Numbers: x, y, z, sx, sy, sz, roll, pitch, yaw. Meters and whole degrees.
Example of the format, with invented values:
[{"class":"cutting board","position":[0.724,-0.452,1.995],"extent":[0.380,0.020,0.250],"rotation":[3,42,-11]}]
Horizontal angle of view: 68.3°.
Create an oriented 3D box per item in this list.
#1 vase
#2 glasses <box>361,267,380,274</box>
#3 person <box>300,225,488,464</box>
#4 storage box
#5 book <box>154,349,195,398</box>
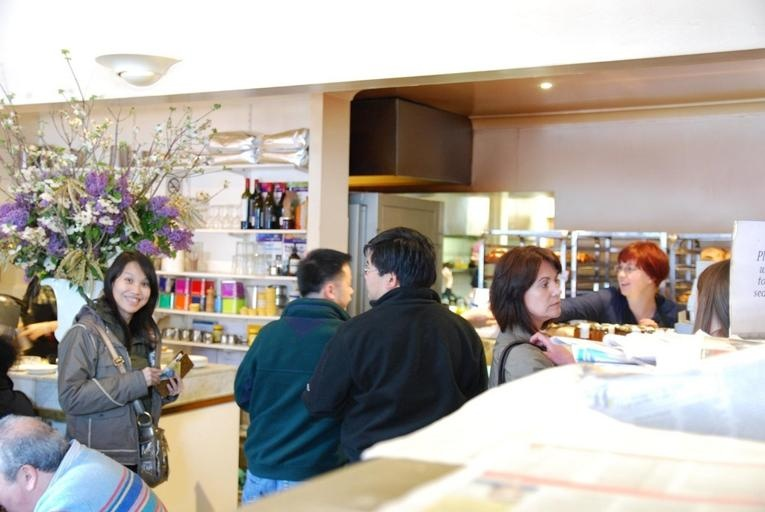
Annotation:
[{"class":"vase","position":[-1.813,0.307,3.359],"extent":[0.393,0.407,0.403],"rotation":[-1,5,-30]},{"class":"glasses","position":[-0.039,0.061,2.299],"extent":[0.088,0.024,0.081],"rotation":[7,-6,-23]},{"class":"person","position":[0.059,0.335,2.201],"extent":[0.758,0.882,0.319],"rotation":[-6,5,-9]},{"class":"storage box","position":[0.272,-1.260,6.277],"extent":[0.852,0.709,1.647],"rotation":[-2,-5,34]},{"class":"book","position":[-1.073,0.608,2.933],"extent":[0.065,0.184,0.192],"rotation":[25,41,22]}]
